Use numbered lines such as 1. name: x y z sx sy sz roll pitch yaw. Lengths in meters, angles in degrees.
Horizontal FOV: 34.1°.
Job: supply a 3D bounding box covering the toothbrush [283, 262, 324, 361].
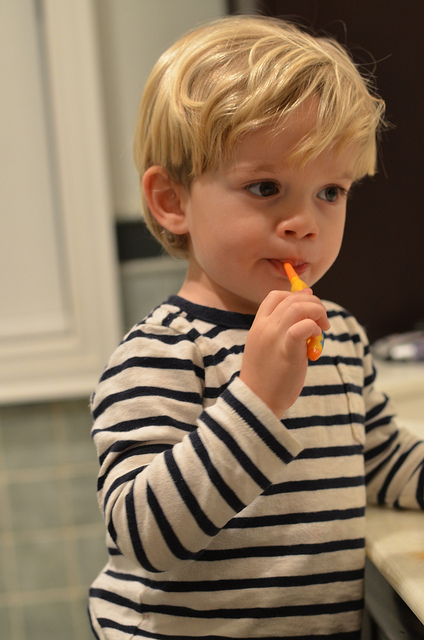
1. toothbrush: 0.079 -0.003 0.588 0.024 0.096 0.028 -3 -22 -24
